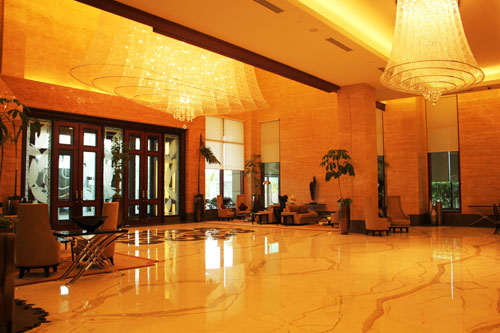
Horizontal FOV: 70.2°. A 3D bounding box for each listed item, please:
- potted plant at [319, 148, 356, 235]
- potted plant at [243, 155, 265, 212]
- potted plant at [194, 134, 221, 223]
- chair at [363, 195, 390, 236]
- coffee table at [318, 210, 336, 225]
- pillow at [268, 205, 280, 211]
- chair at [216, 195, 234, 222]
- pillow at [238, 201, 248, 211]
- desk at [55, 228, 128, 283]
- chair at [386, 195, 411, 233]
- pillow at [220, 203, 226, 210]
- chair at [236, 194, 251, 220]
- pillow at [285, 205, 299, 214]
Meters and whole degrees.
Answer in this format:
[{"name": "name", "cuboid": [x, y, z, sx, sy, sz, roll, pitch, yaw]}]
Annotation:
[{"name": "potted plant", "cuboid": [3.536, 0.861, 14.432, 1.225, 3.143, 2.930, -1, 1, 12]}, {"name": "potted plant", "cuboid": [0.315, 0.841, 19.767, 1.104, 3.099, 1.304, -1, 1, -18]}, {"name": "potted plant", "cuboid": [-2.039, 0.635, 17.565, 1.442, 3.694, 1.349, 0, -3, 25]}, {"name": "chair", "cuboid": [4.632, 1.778, 12.826, 1.061, 1.193, 1.031, 11, -9, -40]}, {"name": "coffee table", "cuboid": [3.519, 2.336, 16.167, 1.007, 0.741, 0.694, 8, -10, -44]}, {"name": "pillow", "cuboid": [1.087, 1.894, 16.640, 0.430, 0.249, 0.291, 1, 2, -26]}, {"name": "chair", "cuboid": [-1.398, 2.129, 18.130, 1.370, 1.450, 1.106, -1, -3, 7]}, {"name": "pillow", "cuboid": [-0.429, 2.069, 18.623, 0.393, 0.390, 0.432, 0, 1, 24]}, {"name": "desk", "cuboid": [-3.585, 1.812, 8.067, 1.617, 0.970, 1.361, 4, 0, -39]}, {"name": "chair", "cuboid": [5.584, 1.782, 13.481, 0.734, 1.278, 0.954, 0, 1, 19]}, {"name": "pillow", "cuboid": [-1.410, 2.045, 18.304, 0.254, 0.236, 0.269, 1, 3, 8]}, {"name": "chair", "cuboid": [-0.414, 2.057, 18.669, 0.870, 1.043, 0.701, 1, 2, -6]}, {"name": "pillow", "cuboid": [1.878, 1.927, 16.182, 0.558, 0.340, 0.366, 3, -7, -27]}]
